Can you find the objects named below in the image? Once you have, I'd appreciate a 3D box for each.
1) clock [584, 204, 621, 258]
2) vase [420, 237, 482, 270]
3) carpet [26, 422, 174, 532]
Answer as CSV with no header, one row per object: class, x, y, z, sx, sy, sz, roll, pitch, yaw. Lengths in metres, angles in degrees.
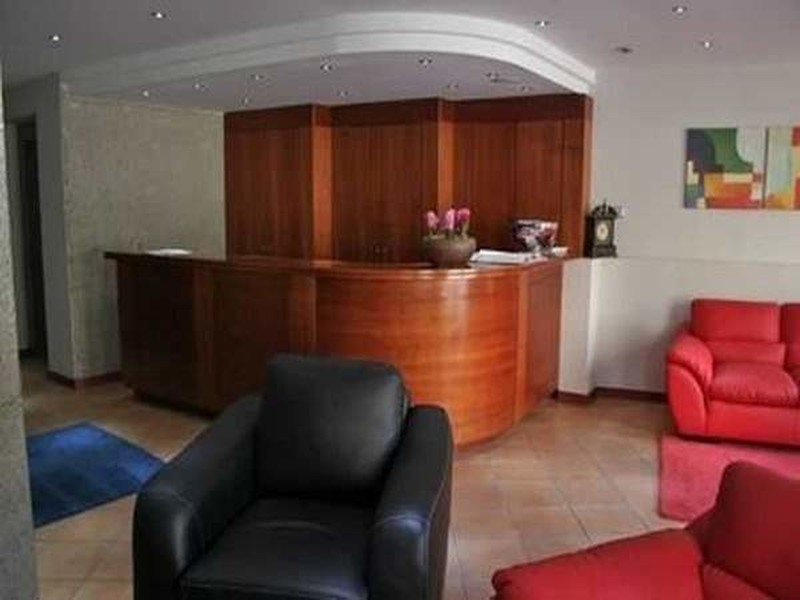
clock,1.730,-0.599,5.486,0.255,0.424,0.156,-3,7,-15
vase,0.363,-0.333,4.521,0.285,0.161,0.293,0,-2,0
carpet,-2.219,1.056,4.314,0.842,0.031,0.775,31,35,31
